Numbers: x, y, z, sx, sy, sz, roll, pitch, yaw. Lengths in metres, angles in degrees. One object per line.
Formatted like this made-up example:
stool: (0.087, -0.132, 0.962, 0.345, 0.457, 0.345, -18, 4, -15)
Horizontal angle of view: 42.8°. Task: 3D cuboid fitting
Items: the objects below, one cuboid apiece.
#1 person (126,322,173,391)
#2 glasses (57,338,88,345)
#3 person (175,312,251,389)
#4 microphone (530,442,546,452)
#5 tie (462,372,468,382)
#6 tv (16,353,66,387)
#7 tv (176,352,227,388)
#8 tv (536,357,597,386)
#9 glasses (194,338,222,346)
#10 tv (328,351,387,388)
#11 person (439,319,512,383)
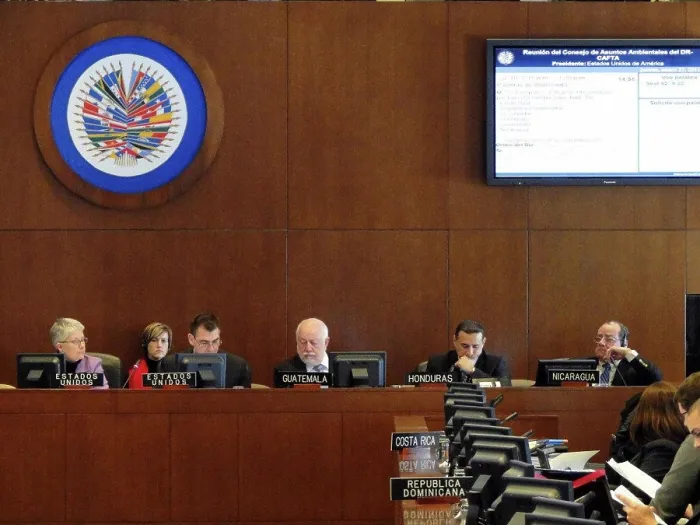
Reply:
person: (-1.728, 0.986, 7.745, 0.267, 0.884, 0.336, -20, -30, 38)
glasses: (-2.232, 0.630, 7.173, 0.210, 0.048, 0.102, -2, -2, -41)
person: (-1.154, 0.754, 7.510, 0.471, 1.107, 0.335, -1, -12, -18)
microphone: (1.138, 1.118, 5.410, 0.082, 0.053, 0.126, 1, -3, 9)
tie: (0.893, 0.875, 6.888, 0.051, 0.076, 0.157, -3, -1, 14)
tv: (-2.312, 0.806, 6.651, 0.203, 0.228, 0.079, 0, -10, -4)
tv: (-1.129, 0.809, 6.688, 0.216, 0.250, 0.082, 0, -3, -7)
tv: (1.672, 0.829, 6.874, 0.370, 0.224, 0.287, -1, -5, 4)
glasses: (-1.159, 0.656, 7.394, 0.222, 0.053, 0.105, -1, -2, -42)
tv: (0.054, 0.806, 6.753, 0.426, 0.247, 0.220, -3, -1, -3)
person: (1.000, 0.867, 7.536, 0.662, 0.658, 0.989, 1, -1, 7)
